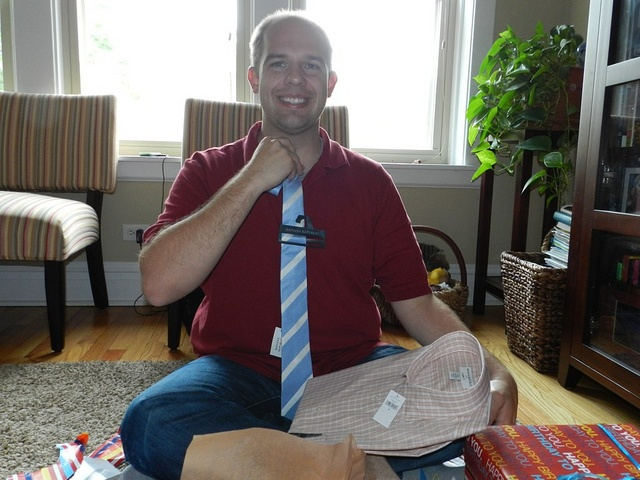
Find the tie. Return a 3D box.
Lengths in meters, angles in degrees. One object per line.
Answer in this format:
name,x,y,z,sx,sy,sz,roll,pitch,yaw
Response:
tie,-0.082,0.142,1.318,0.107,0.610,0.269,0,12,-7

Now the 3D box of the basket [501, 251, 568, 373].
basket,1.030,0.323,2.218,0.324,0.449,0.438,8,4,10

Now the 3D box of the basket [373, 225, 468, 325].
basket,0.572,0.211,2.670,0.556,0.577,0.418,-1,-18,23

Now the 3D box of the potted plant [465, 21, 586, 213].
potted plant,1.032,-0.683,2.434,0.606,0.819,0.553,-1,10,-41
